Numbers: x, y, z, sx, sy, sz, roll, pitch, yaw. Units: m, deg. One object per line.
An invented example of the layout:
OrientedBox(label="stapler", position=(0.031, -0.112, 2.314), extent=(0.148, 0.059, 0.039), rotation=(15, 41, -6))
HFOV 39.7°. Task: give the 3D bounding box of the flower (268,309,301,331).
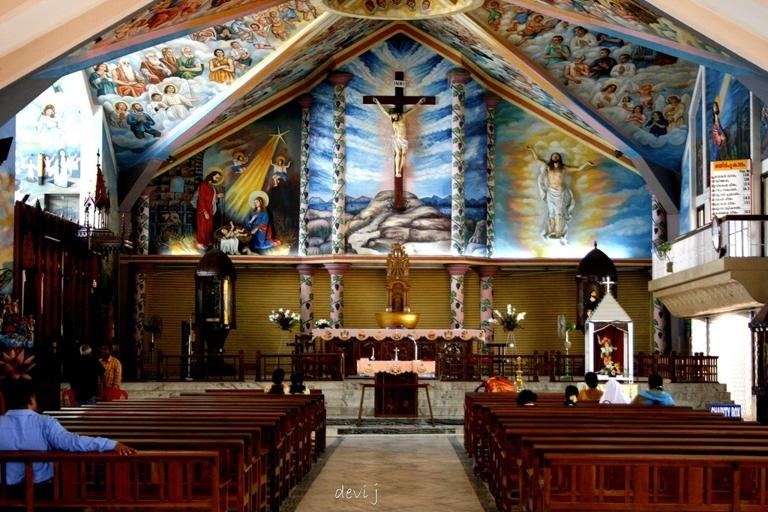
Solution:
OrientedBox(label="flower", position=(-3.059, 1.856, 32.233), extent=(0.848, 0.518, 0.782), rotation=(2, -14, 2))

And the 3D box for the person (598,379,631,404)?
OrientedBox(label="person", position=(4.395, 2.670, 20.849), extent=(0.601, 0.387, 0.803), rotation=(-1, -13, 10))

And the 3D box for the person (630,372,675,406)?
OrientedBox(label="person", position=(4.961, 2.541, 20.146), extent=(0.874, 0.596, 0.453), rotation=(4, -16, 6))

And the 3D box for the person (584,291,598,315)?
OrientedBox(label="person", position=(5.989, 1.377, 31.757), extent=(0.418, 0.752, 0.709), rotation=(-3, -12, 10))

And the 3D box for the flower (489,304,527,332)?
OrientedBox(label="flower", position=(3.807, 1.935, 32.766), extent=(1.069, 0.686, 1.027), rotation=(3, -8, -24))
